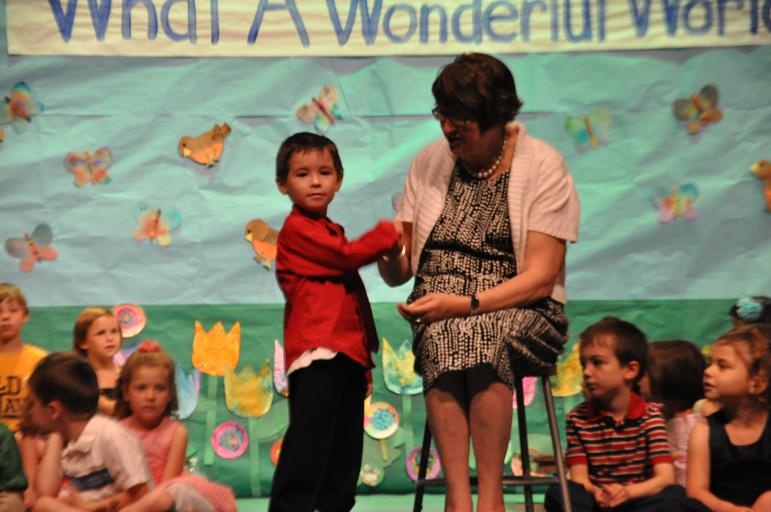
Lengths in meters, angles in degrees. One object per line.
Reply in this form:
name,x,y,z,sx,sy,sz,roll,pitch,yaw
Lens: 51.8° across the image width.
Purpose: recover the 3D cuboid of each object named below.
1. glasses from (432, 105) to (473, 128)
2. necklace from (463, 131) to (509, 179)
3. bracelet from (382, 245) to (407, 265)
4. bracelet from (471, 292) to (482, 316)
glasses,0.276,-0.562,3.187,0.143,0.096,0.038,-3,-5,23
necklace,0.449,-0.412,3.307,0.144,0.168,0.046,-3,17,-19
bracelet,0.038,-0.006,3.373,0.080,0.072,0.077,-13,-30,-6
bracelet,0.347,0.189,3.065,0.038,0.078,0.027,-1,-4,-4
